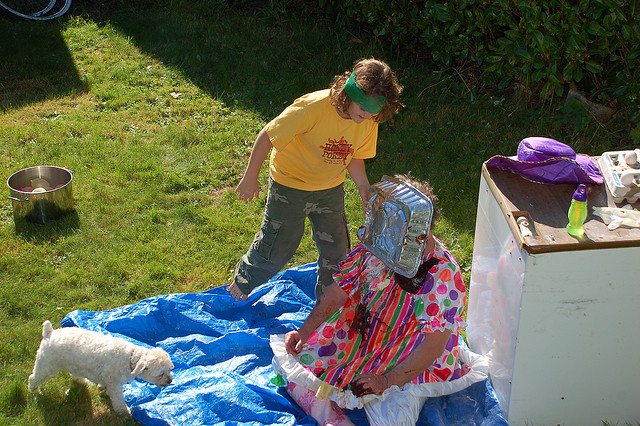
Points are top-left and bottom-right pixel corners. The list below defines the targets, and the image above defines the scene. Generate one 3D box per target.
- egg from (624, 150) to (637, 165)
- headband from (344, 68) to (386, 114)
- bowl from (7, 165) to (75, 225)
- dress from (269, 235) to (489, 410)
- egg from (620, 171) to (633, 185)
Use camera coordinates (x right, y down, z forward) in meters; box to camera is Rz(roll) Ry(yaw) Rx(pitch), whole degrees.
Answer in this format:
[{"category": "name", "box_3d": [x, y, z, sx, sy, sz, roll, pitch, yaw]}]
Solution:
[{"category": "egg", "box_3d": [2.641, -0.452, 5.553, 0.078, 0.108, 0.077, 27, 9, -18]}, {"category": "headband", "box_3d": [0.375, -0.993, 5.601, 0.267, 0.177, 0.358, -20, 76, -38]}, {"category": "bowl", "box_3d": [-3.126, -0.213, 7.338, 0.668, 0.471, 0.575, -8, 43, -33]}, {"category": "dress", "box_3d": [0.577, 0.806, 5.888, 1.806, 1.817, 1.467, 7, -6, 28]}, {"category": "egg", "box_3d": [2.557, -0.278, 5.447, 0.095, 0.100, 0.065, 21, 34, 4]}]
